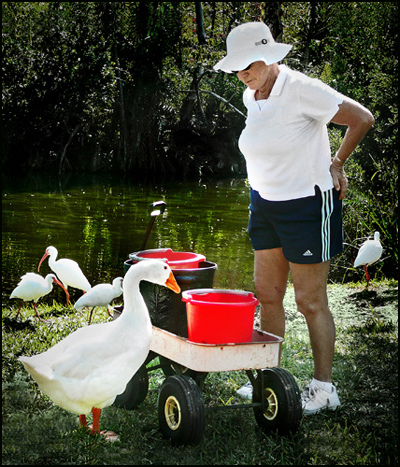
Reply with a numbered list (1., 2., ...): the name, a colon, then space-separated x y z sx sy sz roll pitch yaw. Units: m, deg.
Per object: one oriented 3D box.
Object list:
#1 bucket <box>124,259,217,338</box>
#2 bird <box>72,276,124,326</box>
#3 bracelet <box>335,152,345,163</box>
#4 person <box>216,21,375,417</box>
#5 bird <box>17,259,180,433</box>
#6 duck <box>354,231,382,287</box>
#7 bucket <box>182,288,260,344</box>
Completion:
1. bucket: -0.258 0.359 3.083 0.603 0.432 0.623 7 6 -1
2. bird: -0.818 0.521 4.396 0.535 0.342 0.286 3 -11 -38
3. bracelet: 0.726 -0.398 2.729 0.047 0.038 0.043 -2 6 -7
4. person: 0.472 -0.073 2.841 0.769 2.041 0.357 5 10 14
5. bird: -0.478 0.552 2.546 0.872 0.764 0.365 -2 7 -33
6. duck: 1.861 0.298 5.848 0.269 0.615 0.542 6 9 17
7. bucket: 0.100 0.402 2.533 0.345 0.227 0.371 3 8 0
